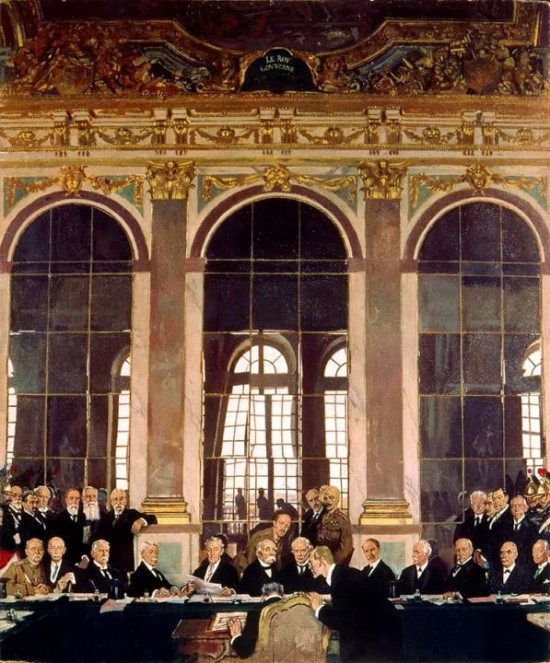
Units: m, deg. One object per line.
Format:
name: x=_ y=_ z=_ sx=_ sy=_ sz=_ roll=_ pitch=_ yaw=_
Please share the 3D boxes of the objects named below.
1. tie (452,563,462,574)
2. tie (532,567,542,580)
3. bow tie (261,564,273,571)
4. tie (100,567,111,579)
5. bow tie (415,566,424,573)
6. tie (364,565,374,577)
tie: x=1.814 y=2.369 z=17.926 sx=0.072 sy=0.106 sz=0.024 roll=30 pitch=-7 yaw=-36
tie: x=2.609 y=2.408 z=17.904 sx=0.075 sy=0.116 sz=0.026 roll=24 pitch=4 yaw=-3
bow tie: x=-0.084 y=2.341 z=17.789 sx=0.070 sy=0.068 sz=0.041 roll=0 pitch=-12 yaw=-4
tie: x=-1.678 y=2.403 z=17.864 sx=0.068 sy=0.114 sz=0.030 roll=-23 pitch=-1 yaw=-2
bow tie: x=1.445 y=2.369 z=17.916 sx=0.055 sy=0.058 sz=0.014 roll=-16 pitch=-31 yaw=14
tie: x=0.927 y=2.375 z=17.875 sx=0.087 sy=0.021 sz=0.091 roll=-36 pitch=-21 yaw=-30
